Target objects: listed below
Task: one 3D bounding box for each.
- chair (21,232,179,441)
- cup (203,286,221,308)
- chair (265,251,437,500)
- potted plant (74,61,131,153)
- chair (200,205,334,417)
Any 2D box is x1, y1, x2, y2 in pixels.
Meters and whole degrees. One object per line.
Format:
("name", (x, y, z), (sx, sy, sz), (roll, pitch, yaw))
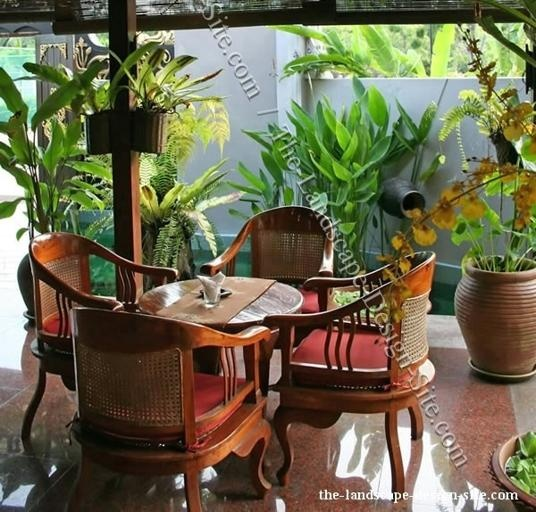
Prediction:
("chair", (-0.904, 0.415, 2.593), (0.633, 0.982, 0.793), (9, 12, 19))
("cup", (-0.279, 0.210, 2.401), (0.082, 0.099, 0.085), (1, -2, 0))
("chair", (0.379, 0.483, 2.561), (0.902, 1.318, 0.961), (3, 8, 18))
("potted plant", (-0.974, -0.881, 2.923), (0.428, 0.521, 0.477), (1, 14, 0))
("chair", (0.005, 0.322, 3.153), (0.773, 1.132, 0.774), (4, 20, 8))
